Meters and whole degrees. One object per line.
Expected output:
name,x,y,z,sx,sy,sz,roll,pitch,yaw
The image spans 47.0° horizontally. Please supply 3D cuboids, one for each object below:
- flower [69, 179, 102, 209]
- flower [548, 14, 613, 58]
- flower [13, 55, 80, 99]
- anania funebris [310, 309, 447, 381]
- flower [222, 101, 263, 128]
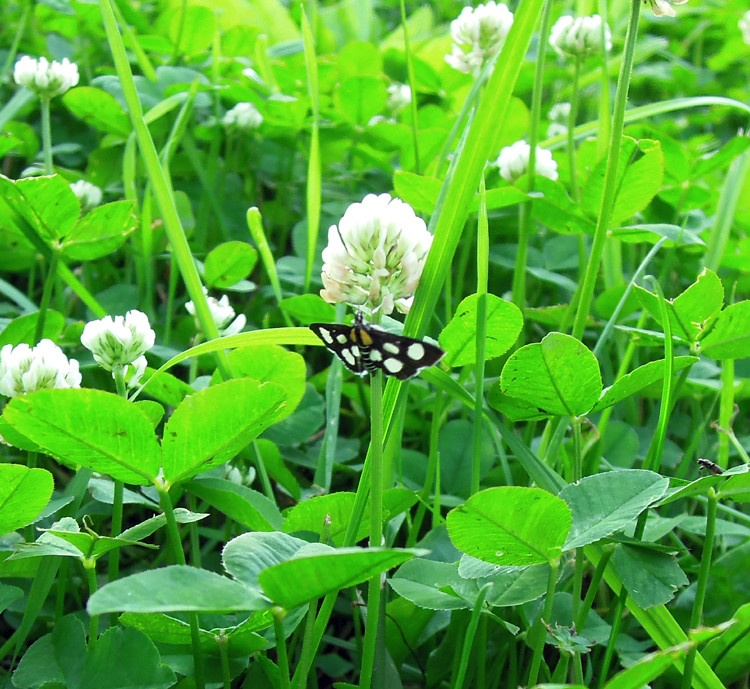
flower,-0.678,-0.357,2.027,0.060,0.062,0.154,-5,31,-20
flower,0.458,-0.690,1.925,0.086,0.058,0.100,-9,17,-31
flower,-0.739,-0.591,1.945,0.139,0.100,0.132,2,1,-22
anania funebris,0.010,0.015,1.127,0.195,0.086,0.055,15,4,39
flower,-0.325,-0.564,2.144,0.110,0.067,0.073,8,29,3
